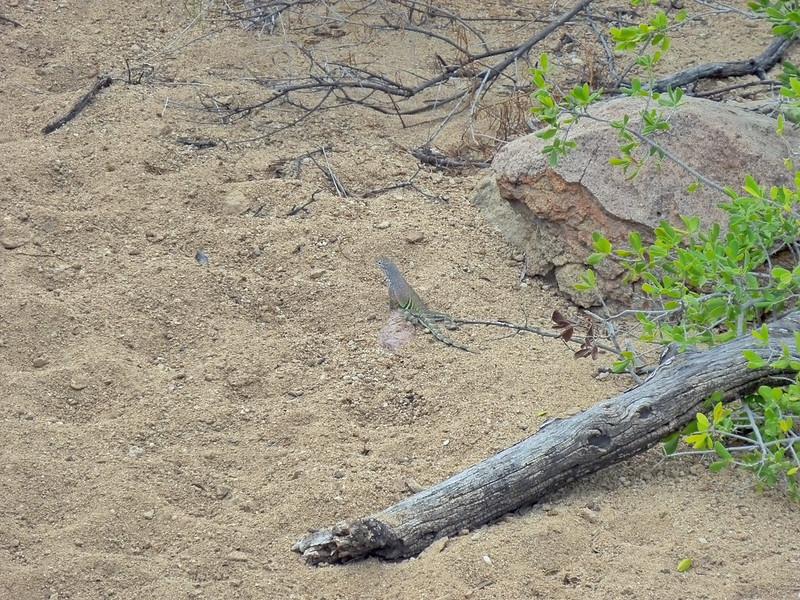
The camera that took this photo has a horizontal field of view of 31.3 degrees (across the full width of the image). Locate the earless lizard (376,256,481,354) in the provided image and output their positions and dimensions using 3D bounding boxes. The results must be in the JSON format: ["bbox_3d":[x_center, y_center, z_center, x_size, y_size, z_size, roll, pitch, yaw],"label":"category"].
[{"bbox_3d":[0.193,0.034,9.777,0.975,0.325,0.496,28,7,28],"label":"earless lizard"}]
